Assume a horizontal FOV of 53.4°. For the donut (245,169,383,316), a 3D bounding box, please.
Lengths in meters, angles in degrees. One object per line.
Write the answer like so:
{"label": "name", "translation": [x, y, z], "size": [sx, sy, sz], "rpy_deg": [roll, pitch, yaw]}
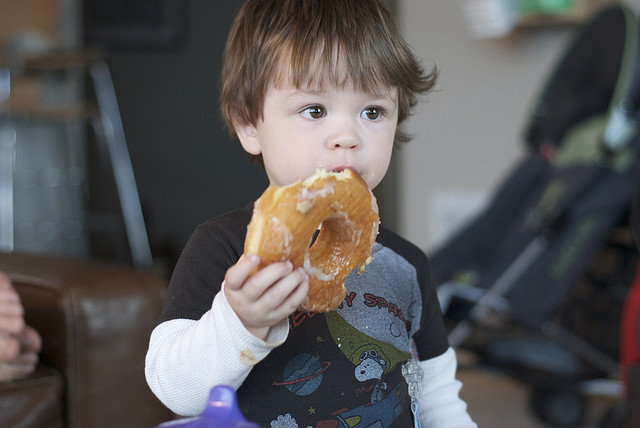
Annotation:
{"label": "donut", "translation": [-0.015, 0.071, 1.559], "size": [0.385, 0.319, 0.142], "rpy_deg": [-14, 30, -26]}

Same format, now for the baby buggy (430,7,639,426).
{"label": "baby buggy", "translation": [0.878, 0.014, 2.279], "size": [0.667, 1.334, 0.746], "rpy_deg": [-6, 27, -14]}
